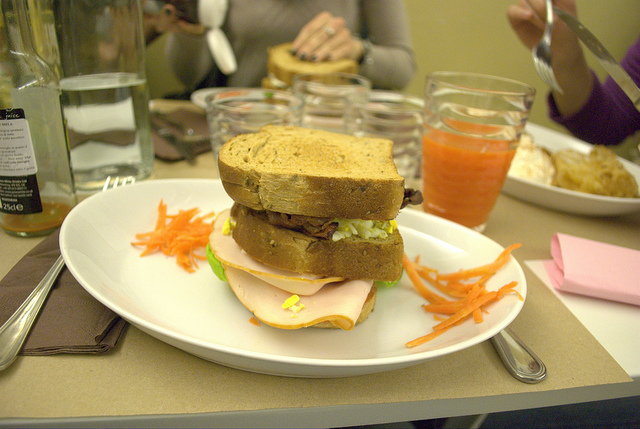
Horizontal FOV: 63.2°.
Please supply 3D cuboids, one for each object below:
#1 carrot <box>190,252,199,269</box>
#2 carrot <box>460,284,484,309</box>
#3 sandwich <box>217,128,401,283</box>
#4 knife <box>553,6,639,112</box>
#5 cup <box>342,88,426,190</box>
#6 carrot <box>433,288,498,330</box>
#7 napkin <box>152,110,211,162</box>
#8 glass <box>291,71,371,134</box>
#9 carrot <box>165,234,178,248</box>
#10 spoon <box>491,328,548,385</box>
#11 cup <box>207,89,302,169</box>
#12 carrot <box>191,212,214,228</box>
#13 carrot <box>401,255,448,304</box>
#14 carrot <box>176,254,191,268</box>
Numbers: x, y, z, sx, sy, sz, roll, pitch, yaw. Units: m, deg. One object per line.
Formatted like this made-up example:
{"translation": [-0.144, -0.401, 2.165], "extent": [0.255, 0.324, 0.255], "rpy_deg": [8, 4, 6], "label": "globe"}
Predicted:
{"translation": [-0.450, 0.163, 1.866], "extent": [0.019, 0.009, 0.079], "rpy_deg": [-14, 43, -22], "label": "carrot"}
{"translation": [0.492, 0.265, 1.694], "extent": [0.046, 0.025, 0.090], "rpy_deg": [26, 70, 36], "label": "carrot"}
{"translation": [-0.024, -0.033, 1.789], "extent": [0.610, 0.234, 0.605], "rpy_deg": [2, 25, -4], "label": "sandwich"}
{"translation": [1.067, -0.606, 1.960], "extent": [0.151, 0.255, 0.451], "rpy_deg": [-19, 41, -27], "label": "knife"}
{"translation": [0.311, -0.343, 2.417], "extent": [0.479, 0.494, 0.482], "rpy_deg": [2, 12, 0], "label": "cup"}
{"translation": [0.472, 0.309, 1.676], "extent": [0.212, 0.027, 0.049], "rpy_deg": [-25, 20, -20], "label": "carrot"}
{"translation": [-0.731, -0.359, 2.671], "extent": [0.318, 0.016, 0.342], "rpy_deg": [1, 29, -33], "label": "napkin"}
{"translation": [0.049, -0.578, 2.538], "extent": [0.357, 0.249, 0.341], "rpy_deg": [1, 24, -4], "label": "glass"}
{"translation": [-0.545, 0.093, 1.891], "extent": [0.036, 0.013, 0.041], "rpy_deg": [11, 25, 3], "label": "carrot"}
{"translation": [0.626, 0.436, 1.680], "extent": [0.095, 0.035, 0.331], "rpy_deg": [-36, 14, 4], "label": "spoon"}
{"translation": [-0.290, -0.417, 2.341], "extent": [0.390, 0.324, 0.427], "rpy_deg": [2, 14, -1], "label": "cup"}
{"translation": [-0.455, 0.011, 2.032], "extent": [0.024, 0.024, 0.175], "rpy_deg": [-33, 2, 28], "label": "carrot"}
{"translation": [0.334, 0.228, 1.841], "extent": [0.056, 0.060, 0.383], "rpy_deg": [-34, 22, 2], "label": "carrot"}
{"translation": [-0.484, 0.163, 1.851], "extent": [0.031, 0.012, 0.059], "rpy_deg": [-8, 23, -29], "label": "carrot"}
